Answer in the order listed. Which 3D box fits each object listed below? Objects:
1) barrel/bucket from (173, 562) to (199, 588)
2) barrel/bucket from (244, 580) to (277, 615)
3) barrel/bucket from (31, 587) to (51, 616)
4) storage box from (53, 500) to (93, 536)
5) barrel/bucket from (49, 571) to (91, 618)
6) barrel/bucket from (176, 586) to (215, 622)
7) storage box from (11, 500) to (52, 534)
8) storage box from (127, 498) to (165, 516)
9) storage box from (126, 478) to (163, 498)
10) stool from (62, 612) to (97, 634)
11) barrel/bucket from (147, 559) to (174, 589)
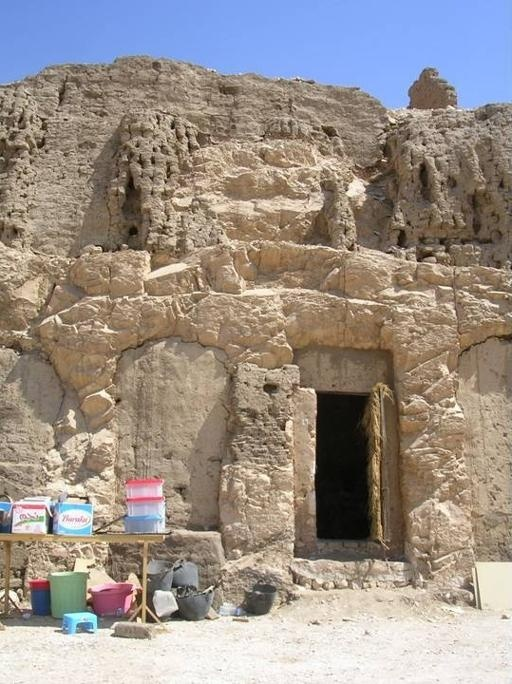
[{"bbox_3d":[-0.617,2.054,9.155,0.244,0.214,0.234,-3,-7,0],"label":"barrel/bucket"},{"bbox_3d":[0.014,2.343,9.388,0.246,0.174,0.259,0,-15,0],"label":"barrel/bucket"},{"bbox_3d":[-1.824,2.205,8.740,0.171,0.218,0.121,5,3,-11],"label":"barrel/bucket"},{"bbox_3d":[-1.502,1.447,8.447,0.294,0.167,0.285,7,5,-4],"label":"storage box"},{"bbox_3d":[-1.575,2.106,8.615,0.338,0.316,0.381,7,-12,-38],"label":"barrel/bucket"},{"bbox_3d":[-0.544,2.249,8.856,0.285,0.211,0.287,-1,-23,0],"label":"barrel/bucket"},{"bbox_3d":[-1.835,1.426,8.442,0.296,0.250,0.278,1,-5,-1],"label":"storage box"},{"bbox_3d":[-0.919,1.354,8.493,0.232,0.082,0.158,-2,-12,9],"label":"storage box"},{"bbox_3d":[-0.933,1.221,8.563,0.245,0.074,0.168,1,16,1],"label":"storage box"},{"bbox_3d":[-1.395,2.208,8.174,0.227,0.103,0.162,3,-12,-9],"label":"stool"},{"bbox_3d":[-0.834,2.017,8.965,0.218,0.151,0.218,-2,1,0],"label":"barrel/bucket"}]
